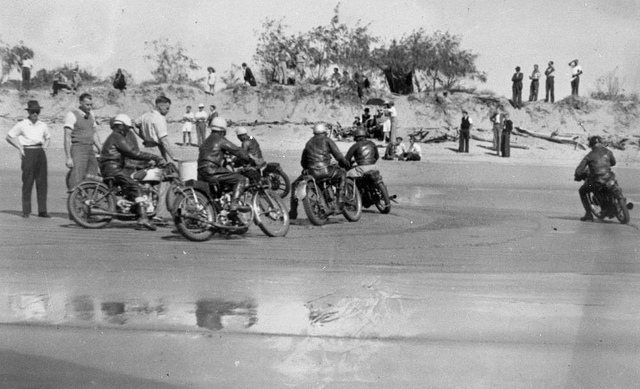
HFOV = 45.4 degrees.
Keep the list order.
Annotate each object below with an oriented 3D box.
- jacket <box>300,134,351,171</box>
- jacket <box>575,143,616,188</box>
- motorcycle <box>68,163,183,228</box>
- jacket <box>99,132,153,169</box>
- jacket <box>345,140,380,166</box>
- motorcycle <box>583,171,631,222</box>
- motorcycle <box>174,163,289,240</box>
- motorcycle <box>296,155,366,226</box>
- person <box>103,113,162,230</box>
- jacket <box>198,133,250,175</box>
[{"bbox_3d":[0.049,-0.914,17.342,0.738,0.764,1.093,9,16,26],"label":"jacket"},{"bbox_3d":[6.768,-0.664,18.612,1.015,0.887,0.721,12,18,34],"label":"jacket"},{"bbox_3d":[-3.903,-0.140,15.891,1.400,1.565,2.896,1,3,39],"label":"motorcycle"},{"bbox_3d":[-3.912,-0.970,15.982,1.067,0.748,1.237,11,16,38],"label":"jacket"},{"bbox_3d":[1.003,-0.985,18.306,0.946,0.571,0.423,-9,14,-22],"label":"jacket"},{"bbox_3d":[6.970,0.107,18.563,0.779,0.827,1.476,-6,14,-5],"label":"motorcycle"},{"bbox_3d":[-1.827,0.101,15.195,1.312,1.641,3.058,-10,-5,41],"label":"motorcycle"},{"bbox_3d":[0.209,0.147,16.980,0.979,0.907,1.651,-2,10,44],"label":"motorcycle"},{"bbox_3d":[-3.904,-0.427,15.803,1.010,2.301,1.268,-9,19,-34],"label":"person"},{"bbox_3d":[-1.914,-0.738,15.473,1.227,0.892,1.076,-2,-1,-10],"label":"jacket"}]
